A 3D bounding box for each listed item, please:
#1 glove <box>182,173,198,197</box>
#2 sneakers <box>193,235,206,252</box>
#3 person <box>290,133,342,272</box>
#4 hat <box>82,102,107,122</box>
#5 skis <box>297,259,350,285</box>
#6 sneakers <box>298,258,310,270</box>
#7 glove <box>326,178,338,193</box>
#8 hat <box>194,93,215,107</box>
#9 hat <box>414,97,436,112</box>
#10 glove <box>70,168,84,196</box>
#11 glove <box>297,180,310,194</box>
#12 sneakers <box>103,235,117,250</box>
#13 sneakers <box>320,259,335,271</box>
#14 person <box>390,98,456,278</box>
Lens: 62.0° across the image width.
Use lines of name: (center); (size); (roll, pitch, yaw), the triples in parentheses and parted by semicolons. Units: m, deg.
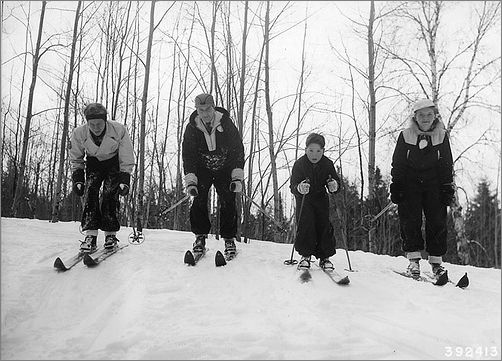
glove: (-0.834, 0.050, 5.849); (0.176, 0.331, 0.188); (4, -8, -16)
sneakers: (-0.736, 0.946, 6.057); (0.138, 0.244, 0.238); (1, -26, 1)
person: (0.909, 0.289, 5.865); (0.702, 1.898, 0.415); (1, -8, 2)
hat: (-2.242, -0.978, 6.009); (0.323, 0.295, 0.219); (5, -9, -24)
skis: (0.958, 1.190, 5.840); (0.216, 0.211, 1.713); (-5, 4, -9)
sneakers: (0.741, 1.143, 5.756); (0.115, 0.187, 0.180); (1, -19, 8)
glove: (1.131, 0.065, 5.766); (0.117, 0.178, 0.058); (-10, -8, 27)
hat: (-0.639, -1.118, 5.767); (0.262, 0.214, 0.182); (3, -8, -8)
hat: (2.532, -1.118, 6.089); (0.291, 0.222, 0.286); (-2, -9, 24)
glove: (-2.528, 0.015, 6.103); (0.114, 0.369, 0.250); (3, -2, -7)
glove: (0.740, 0.098, 5.815); (0.173, 0.201, 0.223); (1, -8, 4)
sneakers: (-2.051, 0.897, 6.088); (0.100, 0.171, 0.279); (-1, -23, -9)
sneakers: (1.059, 1.164, 5.752); (0.082, 0.119, 0.243); (1, -21, -6)
person: (2.520, 0.122, 6.117); (0.911, 2.600, 0.496); (0, -8, 13)
